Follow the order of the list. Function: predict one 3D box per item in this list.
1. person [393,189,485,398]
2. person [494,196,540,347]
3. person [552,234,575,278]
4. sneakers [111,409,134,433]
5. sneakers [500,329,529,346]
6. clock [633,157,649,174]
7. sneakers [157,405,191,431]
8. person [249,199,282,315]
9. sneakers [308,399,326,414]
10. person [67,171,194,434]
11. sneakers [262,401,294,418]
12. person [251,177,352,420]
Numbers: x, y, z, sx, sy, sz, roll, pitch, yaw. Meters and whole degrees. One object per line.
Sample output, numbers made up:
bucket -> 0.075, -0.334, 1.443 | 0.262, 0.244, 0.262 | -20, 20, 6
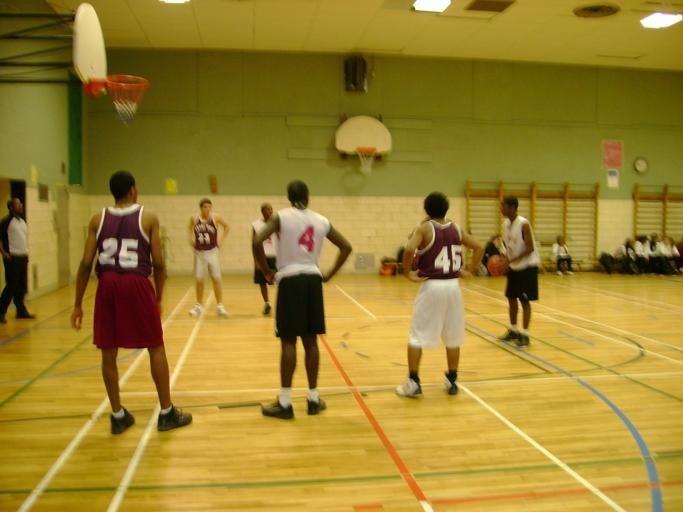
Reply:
person -> 0.879, 0.500, 5.141 | 0.695, 1.668, 0.294 | -2, 8, -14
person -> 2.165, 0.165, 6.824 | 0.446, 1.834, 0.753 | 2, 8, 17
person -> 5.571, -0.066, 14.077 | 0.466, 0.944, 0.862 | 3, 9, 20
sneakers -> -1.798, 1.342, 4.579 | 0.091, 0.199, 0.254 | 0, 10, 4
sneakers -> 2.147, 1.005, 6.888 | 0.342, 0.176, 0.134 | 4, 2, 27
clock -> 7.944, -2.415, 14.774 | 0.468, 0.438, 0.104 | -3, 8, -19
sneakers -> -1.404, 1.319, 4.653 | 0.258, 0.178, 0.144 | -6, 8, -28
person -> -1.122, 0.043, 8.430 | 0.514, 1.709, 0.526 | -1, 1, -13
sneakers -> -0.221, 1.319, 4.920 | 0.150, 0.158, 0.090 | -7, 13, -35
person -> -1.713, 0.376, 4.491 | 0.840, 2.102, 0.450 | 1, 8, 8
sneakers -> -0.562, 1.339, 4.875 | 0.232, 0.107, 0.143 | 6, -3, 17
person -> -0.363, 0.367, 4.836 | 0.815, 2.031, 0.399 | -2, 8, -12
